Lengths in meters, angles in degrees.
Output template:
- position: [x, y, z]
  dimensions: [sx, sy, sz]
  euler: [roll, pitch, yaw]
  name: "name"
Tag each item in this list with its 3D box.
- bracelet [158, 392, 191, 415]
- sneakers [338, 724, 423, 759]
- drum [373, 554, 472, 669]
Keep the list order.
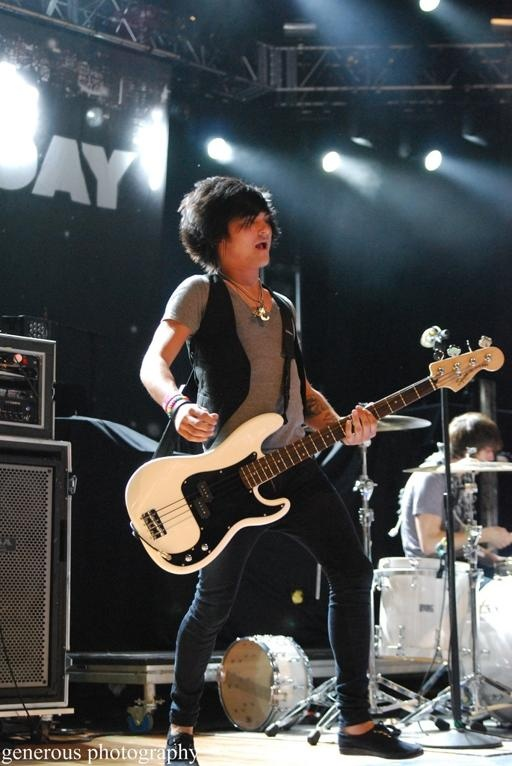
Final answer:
- position: [-0.234, 0.056, 2.387]
  dimensions: [0.064, 0.030, 0.072]
  euler: [2, 33, 46]
  name: "bracelet"
- position: [0.344, 1.025, 2.348]
  dimensions: [0.284, 0.085, 0.112]
  euler: [-1, 31, 8]
  name: "sneakers"
- position: [0.742, 1.061, 3.945]
  dimensions: [0.531, 0.434, 0.498]
  euler: [4, -9, -23]
  name: "drum"
